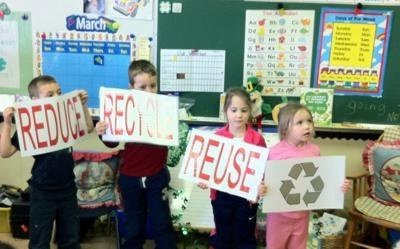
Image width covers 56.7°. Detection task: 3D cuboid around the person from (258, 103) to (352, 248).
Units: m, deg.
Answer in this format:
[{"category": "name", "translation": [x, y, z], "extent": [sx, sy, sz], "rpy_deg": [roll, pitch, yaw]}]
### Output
[{"category": "person", "translation": [0.757, 0.463, 3.024], "extent": [0.400, 1.260, 0.375], "rpy_deg": [4, 11, 17]}]
